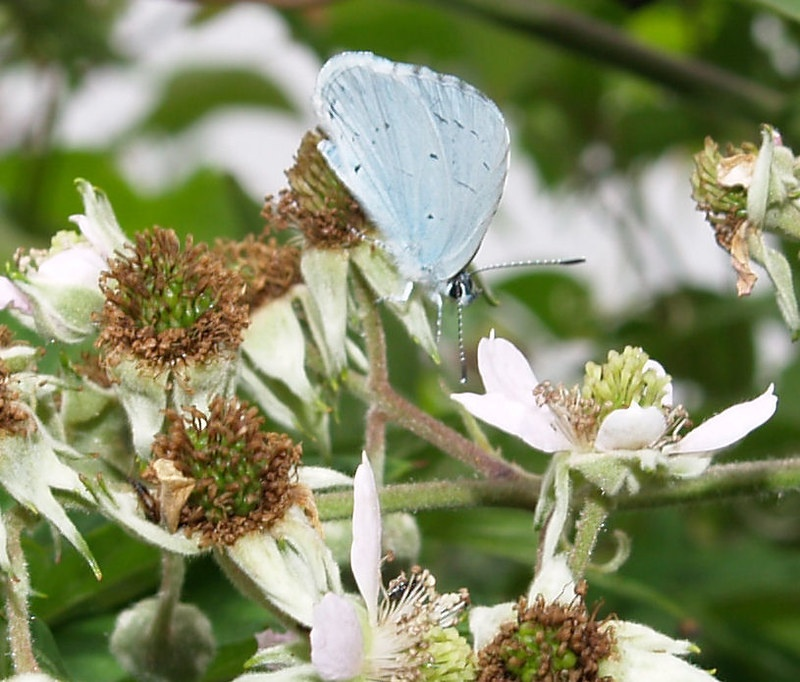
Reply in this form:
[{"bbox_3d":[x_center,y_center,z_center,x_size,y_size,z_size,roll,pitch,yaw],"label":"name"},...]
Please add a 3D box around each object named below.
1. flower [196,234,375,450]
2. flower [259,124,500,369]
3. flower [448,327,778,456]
[{"bbox_3d":[-0.161,0.002,1.797,0.250,0.104,0.273,-32,80,3],"label":"flower"},{"bbox_3d":[-0.058,-0.114,1.669,0.148,0.204,0.322,-19,47,-22],"label":"flower"},{"bbox_3d":[0.249,0.102,1.584,0.266,0.113,0.210,20,-6,-17],"label":"flower"}]
